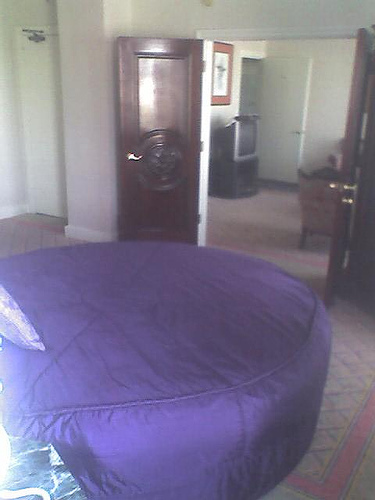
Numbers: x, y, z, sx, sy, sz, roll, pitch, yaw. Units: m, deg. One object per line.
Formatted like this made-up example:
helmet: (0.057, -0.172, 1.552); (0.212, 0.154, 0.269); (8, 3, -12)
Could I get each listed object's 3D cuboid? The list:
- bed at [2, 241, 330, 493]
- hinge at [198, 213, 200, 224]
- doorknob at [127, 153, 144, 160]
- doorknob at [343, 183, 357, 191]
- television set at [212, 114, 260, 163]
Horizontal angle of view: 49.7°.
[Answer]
bed: (-0.103, 0.415, 1.571); (1.200, 0.442, 1.063); (-5, 25, -15)
hinge: (0.116, -0.320, 4.083); (0.023, 0.099, 0.012); (-13, 28, -30)
doorknob: (-0.510, -0.916, 3.933); (0.148, 0.058, 0.022); (4, 24, 5)
doorknob: (1.168, -0.461, 2.904); (0.075, 0.031, 0.052); (5, 28, -11)
television set: (0.868, -1.874, 6.715); (0.835, 0.669, 0.549); (-17, 30, -36)
